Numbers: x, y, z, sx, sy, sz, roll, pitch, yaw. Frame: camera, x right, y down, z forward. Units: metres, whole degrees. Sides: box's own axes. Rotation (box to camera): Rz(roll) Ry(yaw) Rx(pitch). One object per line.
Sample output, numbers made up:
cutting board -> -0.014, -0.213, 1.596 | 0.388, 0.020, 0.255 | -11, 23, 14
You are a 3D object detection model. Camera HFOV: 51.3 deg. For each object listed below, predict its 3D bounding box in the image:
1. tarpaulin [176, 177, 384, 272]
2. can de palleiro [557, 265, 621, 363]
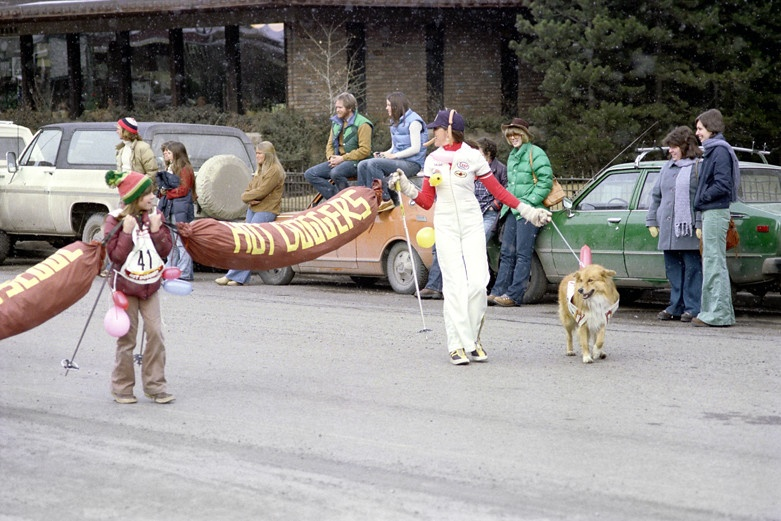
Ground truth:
tarpaulin -> -1.143, -0.327, 8.972 | 0.507, 0.785, 2.488 | 8, 14, 43
can de palleiro -> 2.226, 0.542, 9.594 | 0.463, 0.891, 1.262 | -2, -2, -8
